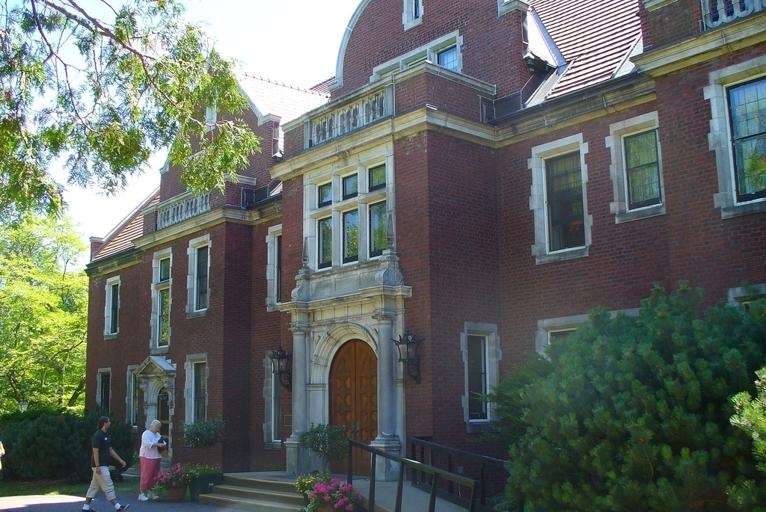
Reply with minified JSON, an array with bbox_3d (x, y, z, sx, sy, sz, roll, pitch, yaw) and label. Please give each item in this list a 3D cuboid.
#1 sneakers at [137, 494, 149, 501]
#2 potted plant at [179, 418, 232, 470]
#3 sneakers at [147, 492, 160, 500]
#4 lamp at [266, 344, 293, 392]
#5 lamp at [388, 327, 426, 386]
[{"bbox_3d":[-6.436,6.549,21.715,0.282,0.145,0.146,-5,-7,41],"label":"sneakers"},{"bbox_3d":[-5.464,5.813,24.971,1.204,1.519,2.127,2,-17,-11],"label":"potted plant"},{"bbox_3d":[-6.230,6.561,21.886,0.387,0.176,0.141,-1,-5,21],"label":"sneakers"},{"bbox_3d":[-2.964,3.362,23.650,0.595,1.254,1.584,2,-17,-8],"label":"lamp"},{"bbox_3d":[0.661,2.483,19.539,0.732,1.193,0.456,-2,-16,5],"label":"lamp"}]
